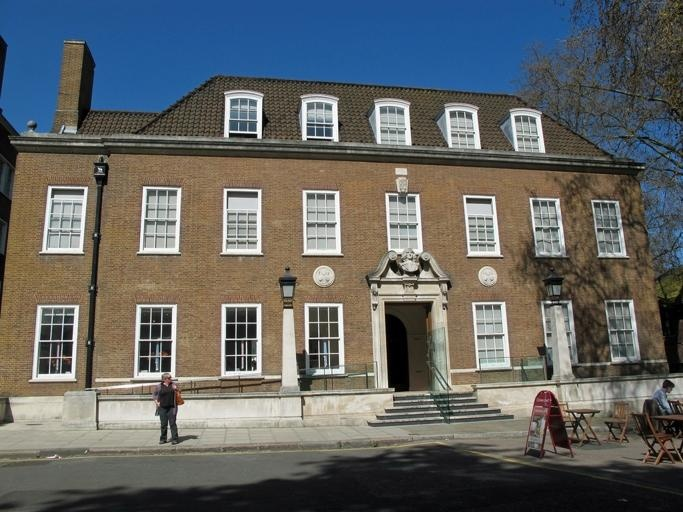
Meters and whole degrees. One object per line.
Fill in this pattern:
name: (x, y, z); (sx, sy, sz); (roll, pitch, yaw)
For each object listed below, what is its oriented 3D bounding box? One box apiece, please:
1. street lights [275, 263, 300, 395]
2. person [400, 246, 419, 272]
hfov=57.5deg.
street lights: (-1.841, 2.529, 21.652); (0.676, 4.304, 0.568); (0, -3, -6)
person: (2.674, 0.170, 24.979); (0.999, 1.115, 0.401); (5, -24, -12)
